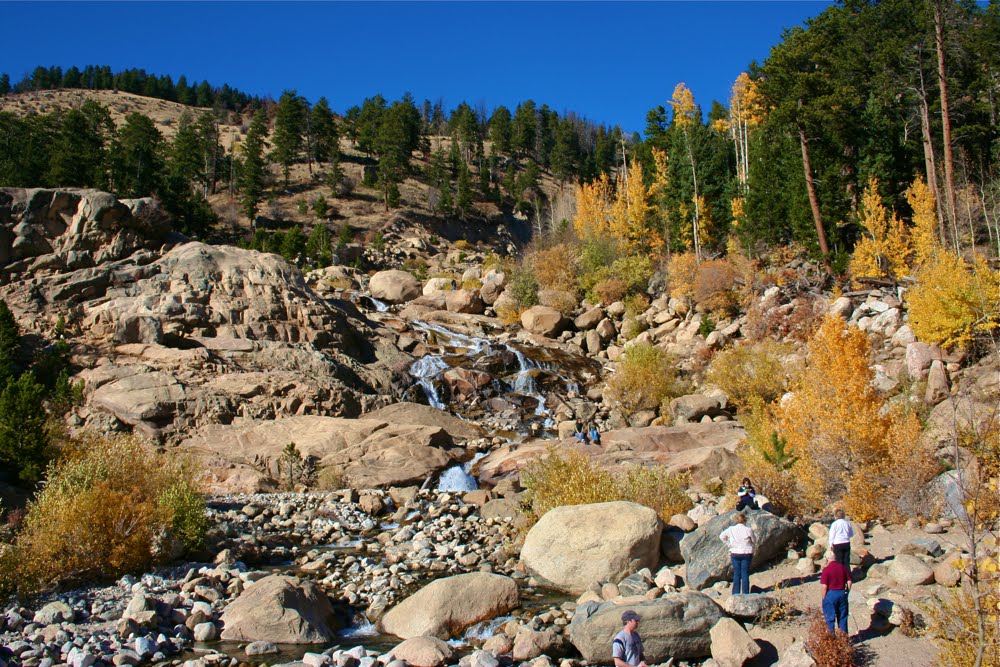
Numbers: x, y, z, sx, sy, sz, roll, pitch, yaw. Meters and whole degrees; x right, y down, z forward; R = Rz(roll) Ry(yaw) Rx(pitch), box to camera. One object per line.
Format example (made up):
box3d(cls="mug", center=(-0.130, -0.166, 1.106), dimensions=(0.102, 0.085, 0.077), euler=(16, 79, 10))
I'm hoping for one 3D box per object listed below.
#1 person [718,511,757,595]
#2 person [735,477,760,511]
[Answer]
box3d(cls="person", center=(7.785, 7.151, 36.030), dimensions=(1.019, 3.019, 0.912), euler=(-3, 13, 4))
box3d(cls="person", center=(8.426, 5.427, 37.417), dimensions=(1.171, 1.026, 0.539), euler=(3, -7, -44))
